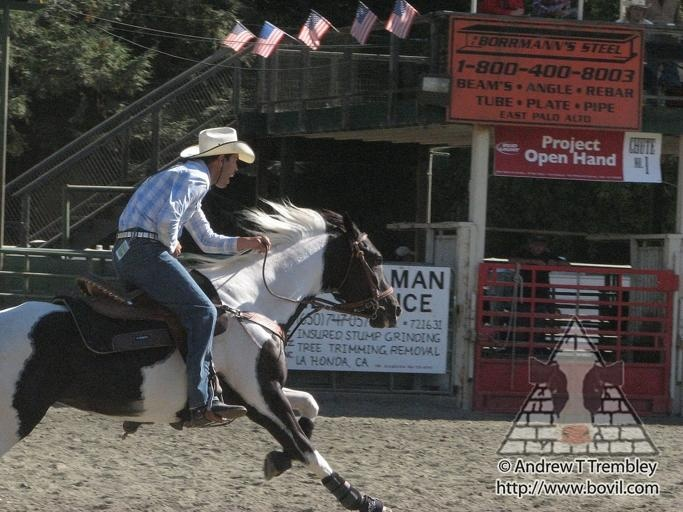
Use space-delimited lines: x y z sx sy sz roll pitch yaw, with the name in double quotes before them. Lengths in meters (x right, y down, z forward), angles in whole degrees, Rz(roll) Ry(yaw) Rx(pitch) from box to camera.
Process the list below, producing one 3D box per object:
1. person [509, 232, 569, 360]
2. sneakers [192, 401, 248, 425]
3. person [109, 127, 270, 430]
"person" 3.004 0.603 21.054 0.790 1.801 1.232 4 7 7
"sneakers" -1.440 1.822 15.668 0.687 0.232 0.245 -8 -26 -2
"person" -1.874 0.227 15.748 1.487 3.398 0.892 3 8 -8
